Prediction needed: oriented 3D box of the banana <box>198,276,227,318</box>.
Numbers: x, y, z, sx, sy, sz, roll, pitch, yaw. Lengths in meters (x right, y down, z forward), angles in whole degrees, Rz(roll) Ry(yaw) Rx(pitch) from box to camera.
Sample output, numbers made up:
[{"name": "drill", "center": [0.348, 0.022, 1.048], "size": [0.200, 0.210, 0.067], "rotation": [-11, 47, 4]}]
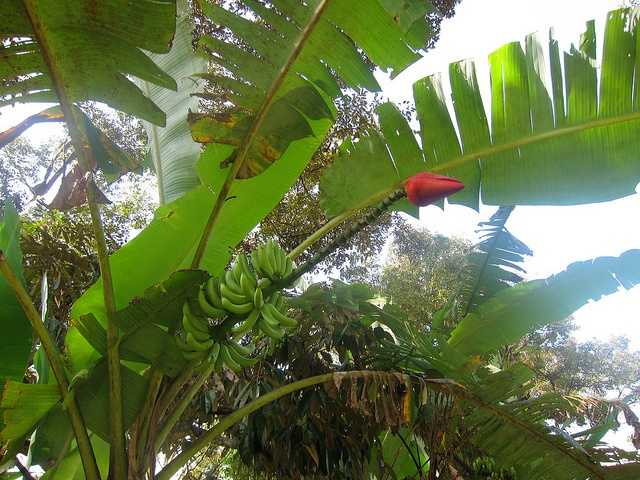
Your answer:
[{"name": "banana", "center": [-0.686, 0.354, 3.207], "size": [0.171, 0.072, 0.225], "rotation": [-42, -106, 29]}]
